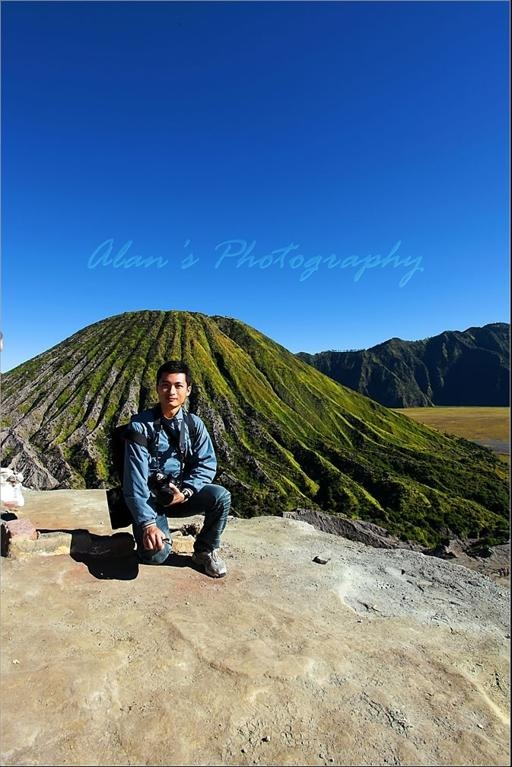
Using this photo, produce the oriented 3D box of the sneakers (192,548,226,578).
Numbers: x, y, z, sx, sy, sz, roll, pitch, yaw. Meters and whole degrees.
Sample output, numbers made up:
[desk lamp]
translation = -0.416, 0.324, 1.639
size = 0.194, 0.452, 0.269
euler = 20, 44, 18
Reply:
[sneakers]
translation = -0.593, 2.278, 5.706
size = 0.473, 0.198, 0.218
euler = 10, 9, 40
